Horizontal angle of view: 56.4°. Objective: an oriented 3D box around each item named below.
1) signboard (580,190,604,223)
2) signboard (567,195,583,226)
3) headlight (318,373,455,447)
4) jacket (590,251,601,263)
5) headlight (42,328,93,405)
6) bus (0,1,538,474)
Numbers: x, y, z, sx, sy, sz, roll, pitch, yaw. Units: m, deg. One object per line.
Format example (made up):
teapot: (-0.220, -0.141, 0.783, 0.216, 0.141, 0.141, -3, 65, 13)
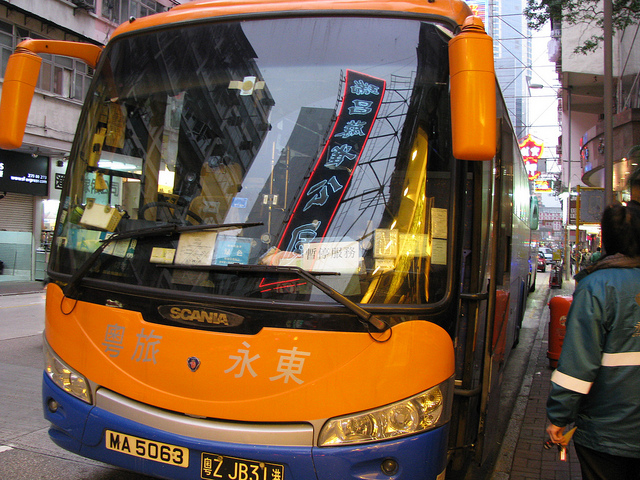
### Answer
signboard: (5.776, -0.752, 12.708, 0.414, 0.720, 0.780, 3, 0, 21)
signboard: (9.822, -1.230, 22.972, 0.735, 1.289, 0.781, 1, -5, 36)
headlight: (0.445, 1.136, 3.920, 0.908, 0.473, 0.109, 4, 0, -12)
jacket: (7.732, 0.453, 16.779, 0.146, 0.374, 0.353, 11, -8, 22)
headlight: (-1.894, 0.973, 4.418, 0.335, 0.464, 0.160, 5, -13, -22)
bus: (0.397, -0.020, 6.101, 2.272, 2.454, 4.888, 0, -2, 19)
